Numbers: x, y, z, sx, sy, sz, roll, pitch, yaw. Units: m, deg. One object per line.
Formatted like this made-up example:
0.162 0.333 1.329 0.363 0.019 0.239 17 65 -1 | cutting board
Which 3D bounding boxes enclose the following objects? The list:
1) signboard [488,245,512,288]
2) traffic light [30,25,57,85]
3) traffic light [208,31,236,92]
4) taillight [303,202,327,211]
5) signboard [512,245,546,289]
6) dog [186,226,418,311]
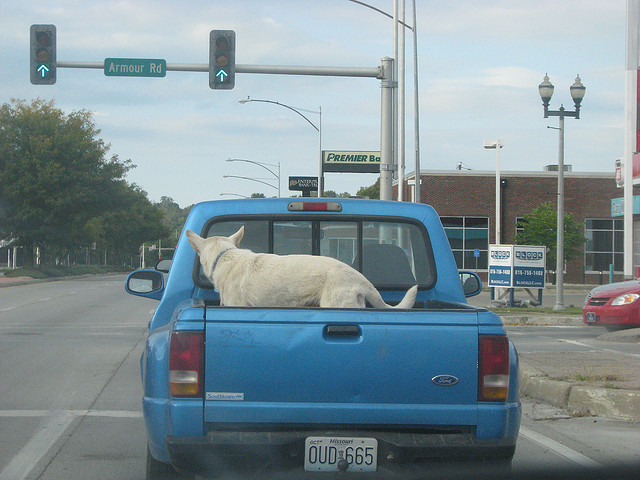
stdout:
5.567 0.835 31.630 0.383 1.275 1.117 -1 1 -35 | signboard
-6.857 -4.531 25.615 0.704 1.490 0.172 2 4 11 | traffic light
-2.405 -4.420 25.594 0.646 1.497 0.485 1 -3 4 | traffic light
-0.056 -0.418 13.311 0.309 0.108 0.064 -1 0 -2 | taillight
6.351 0.835 31.302 1.329 1.503 0.149 1 -2 -7 | signboard
-0.231 0.364 13.290 3.361 1.588 0.912 6 -2 6 | dog
